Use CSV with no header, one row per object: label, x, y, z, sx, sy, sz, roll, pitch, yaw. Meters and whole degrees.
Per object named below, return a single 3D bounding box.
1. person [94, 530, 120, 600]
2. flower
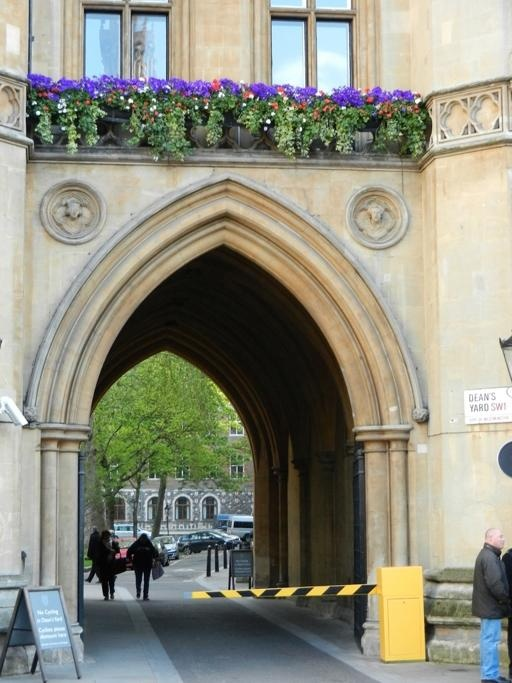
person,-2.452,3.634,20.447,0.300,1.117,1.013,-2,-6,-7
flower,-0.419,-2.318,13.156,3.650,0.756,0.906,2,-7,-5
